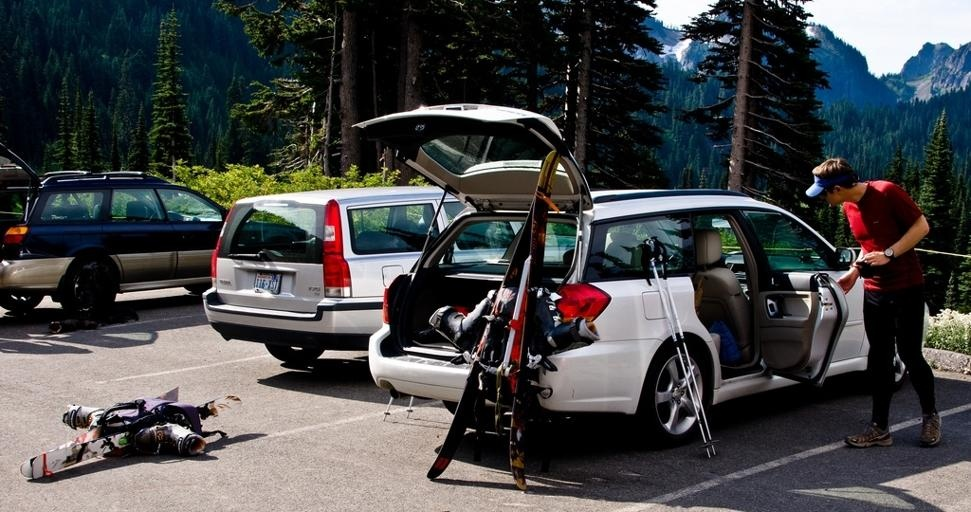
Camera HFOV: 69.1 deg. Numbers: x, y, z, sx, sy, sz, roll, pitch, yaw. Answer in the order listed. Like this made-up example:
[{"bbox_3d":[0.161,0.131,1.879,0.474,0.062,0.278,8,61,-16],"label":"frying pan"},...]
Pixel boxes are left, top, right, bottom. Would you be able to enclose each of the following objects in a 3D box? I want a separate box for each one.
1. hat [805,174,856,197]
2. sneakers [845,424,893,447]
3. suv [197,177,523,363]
[{"bbox_3d":[4.269,-0.836,8.819,0.442,0.137,0.265,-16,1,6],"label":"hat"},{"bbox_3d":[4.726,2.257,8.842,0.647,0.255,0.236,1,-3,-8],"label":"sneakers"},{"bbox_3d":[-1.559,-0.098,12.881,3.347,2.107,6.166,2,11,32],"label":"suv"}]
